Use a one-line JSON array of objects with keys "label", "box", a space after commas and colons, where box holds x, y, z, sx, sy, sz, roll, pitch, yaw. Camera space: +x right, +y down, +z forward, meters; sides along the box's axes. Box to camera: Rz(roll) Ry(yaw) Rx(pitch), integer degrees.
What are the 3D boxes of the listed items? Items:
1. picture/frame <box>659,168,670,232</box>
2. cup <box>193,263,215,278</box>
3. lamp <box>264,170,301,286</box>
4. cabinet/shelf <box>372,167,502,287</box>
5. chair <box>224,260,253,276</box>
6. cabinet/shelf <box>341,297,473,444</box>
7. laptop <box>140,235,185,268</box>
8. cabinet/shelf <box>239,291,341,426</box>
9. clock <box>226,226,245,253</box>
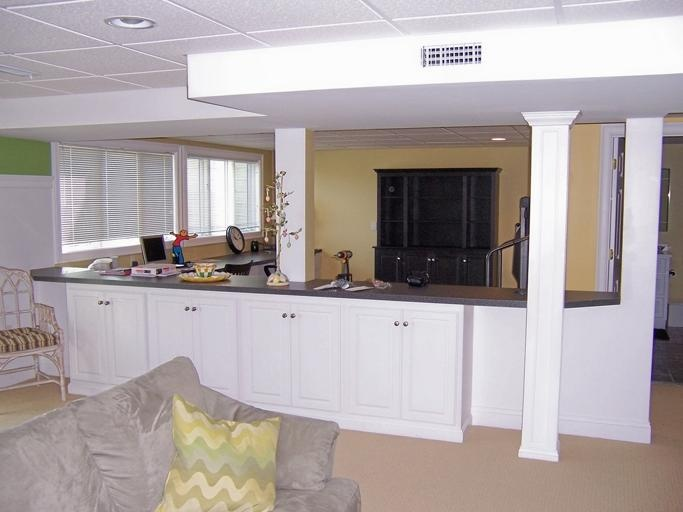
[{"label": "picture/frame", "box": [5.126, -0.884, 8.455, 0.150, 0.997, 0.144, 3, 10, 20]}, {"label": "cup", "box": [-1.268, 0.135, 4.976, 0.160, 0.083, 0.151, -1, -4, 0]}, {"label": "lamp", "box": [-0.534, -0.291, 4.976, 0.331, 1.001, 0.899, -1, 9, -8]}, {"label": "cabinet/shelf", "box": [1.657, -0.495, 8.811, 2.267, 2.275, 0.678, 1, 1, 15]}, {"label": "chair", "box": [-1.389, 0.167, 7.268, 0.255, 0.347, 0.243, 9, 12, 10]}, {"label": "cabinet/shelf", "box": [0.547, 0.897, 4.296, 1.251, 1.254, 0.512, 1, 3, 16]}, {"label": "laptop", "box": [-2.043, -0.063, 6.227, 0.426, 0.460, 0.508, -1, 3, 9]}, {"label": "cabinet/shelf", "box": [-0.382, 0.809, 4.368, 1.218, 1.042, 0.554, 1, 2, 19]}, {"label": "clock", "box": [-1.750, -0.273, 8.843, 0.154, 0.470, 0.443, 5, 10, 28]}]
